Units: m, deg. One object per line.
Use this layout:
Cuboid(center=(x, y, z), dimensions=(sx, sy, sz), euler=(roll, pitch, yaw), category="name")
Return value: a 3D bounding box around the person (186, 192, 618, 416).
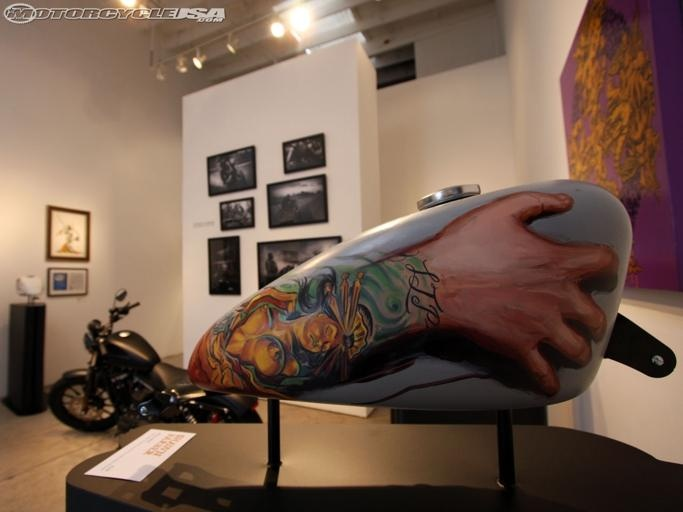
Cuboid(center=(0.180, 0.265, 1.923), dimensions=(1.401, 0.606, 0.432), euler=(-25, -11, 14), category="person")
